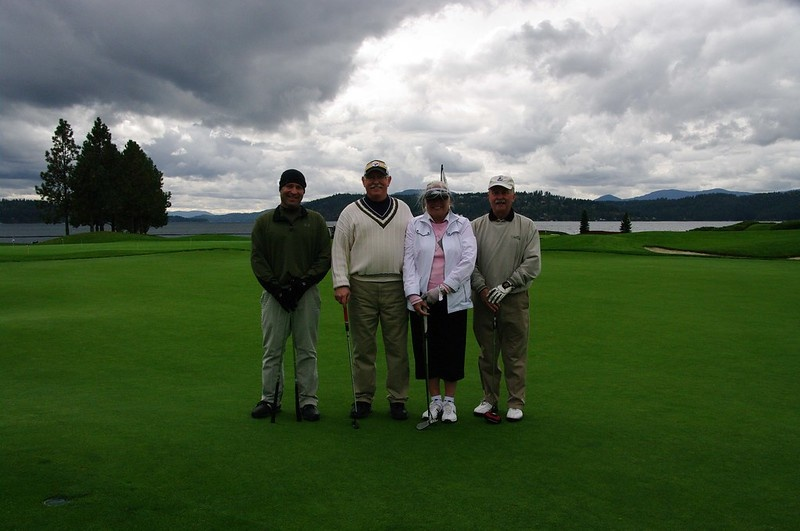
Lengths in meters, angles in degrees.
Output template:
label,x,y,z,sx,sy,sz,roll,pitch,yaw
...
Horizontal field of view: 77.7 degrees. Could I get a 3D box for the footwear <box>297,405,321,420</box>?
label,x,y,z,sx,sy,sz,roll,pitch,yaw
footwear,-1.141,1.838,6.201,0.254,0.110,0.275,-3,11,-14

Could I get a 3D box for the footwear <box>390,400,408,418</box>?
label,x,y,z,sx,sy,sz,roll,pitch,yaw
footwear,-0.012,1.838,6.287,0.219,0.159,0.229,-1,10,-3

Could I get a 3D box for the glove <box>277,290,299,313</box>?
label,x,y,z,sx,sy,sz,roll,pitch,yaw
glove,-1.427,0.451,6.368,0.264,0.304,0.142,-2,11,-12

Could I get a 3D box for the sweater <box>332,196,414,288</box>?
label,x,y,z,sx,sy,sz,roll,pitch,yaw
sweater,-0.316,-0.391,6.763,1.442,1.318,0.622,0,-1,-22

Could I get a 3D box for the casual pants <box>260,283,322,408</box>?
label,x,y,z,sx,sy,sz,roll,pitch,yaw
casual pants,-1.437,1.081,6.528,0.754,1.593,0.789,-2,11,-10

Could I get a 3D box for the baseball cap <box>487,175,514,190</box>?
label,x,y,z,sx,sy,sz,roll,pitch,yaw
baseball cap,1.294,-1.035,6.278,0.268,0.180,0.273,0,10,3

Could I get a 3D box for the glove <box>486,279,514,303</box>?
label,x,y,z,sx,sy,sz,roll,pitch,yaw
glove,1.253,0.339,6.217,0.364,0.111,0.215,-31,-13,23

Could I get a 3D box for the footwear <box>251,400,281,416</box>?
label,x,y,z,sx,sy,sz,roll,pitch,yaw
footwear,-1.701,1.803,6.271,0.307,0.181,0.303,0,10,0

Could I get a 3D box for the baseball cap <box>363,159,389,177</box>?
label,x,y,z,sx,sy,sz,roll,pitch,yaw
baseball cap,-0.298,-1.222,6.232,0.265,0.189,0.507,-1,11,-3

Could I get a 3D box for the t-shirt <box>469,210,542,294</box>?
label,x,y,z,sx,sy,sz,roll,pitch,yaw
t-shirt,1.379,-0.175,6.650,1.091,1.054,0.679,4,8,34

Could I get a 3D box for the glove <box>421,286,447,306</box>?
label,x,y,z,sx,sy,sz,roll,pitch,yaw
glove,0.431,0.388,6.256,0.260,0.115,0.188,-13,18,45
